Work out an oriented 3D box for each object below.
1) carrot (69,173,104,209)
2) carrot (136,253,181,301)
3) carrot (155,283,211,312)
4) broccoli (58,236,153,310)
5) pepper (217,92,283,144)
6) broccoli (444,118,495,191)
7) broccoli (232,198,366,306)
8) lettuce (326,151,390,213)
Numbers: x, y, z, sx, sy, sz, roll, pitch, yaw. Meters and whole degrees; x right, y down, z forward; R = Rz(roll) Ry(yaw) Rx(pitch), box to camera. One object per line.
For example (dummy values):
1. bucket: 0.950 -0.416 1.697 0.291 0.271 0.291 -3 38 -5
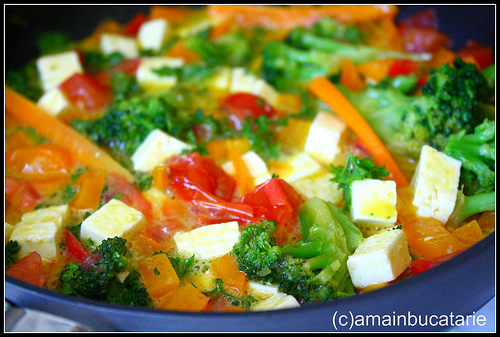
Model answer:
1. carrot: -0.928 0.121 2.190 0.140 0.062 0.206 8 54 -3
2. carrot: -0.464 0.538 1.882 0.177 0.108 0.233 -20 61 -13
3. carrot: -0.320 0.583 1.764 0.152 0.040 0.147 18 41 35
4. broccoli: -0.669 0.521 1.777 0.353 0.133 0.341 -11 72 -11
5. pepper: -0.010 -0.346 2.385 0.390 0.092 0.248 38 69 -1
6. broccoli: 1.249 -0.054 2.110 0.268 0.132 0.392 -7 61 12
7. broccoli: 0.291 0.442 1.858 0.501 0.195 0.475 -26 57 -11
8. lettuce: 0.579 0.044 2.068 0.318 0.279 0.209 -38 59 -6
